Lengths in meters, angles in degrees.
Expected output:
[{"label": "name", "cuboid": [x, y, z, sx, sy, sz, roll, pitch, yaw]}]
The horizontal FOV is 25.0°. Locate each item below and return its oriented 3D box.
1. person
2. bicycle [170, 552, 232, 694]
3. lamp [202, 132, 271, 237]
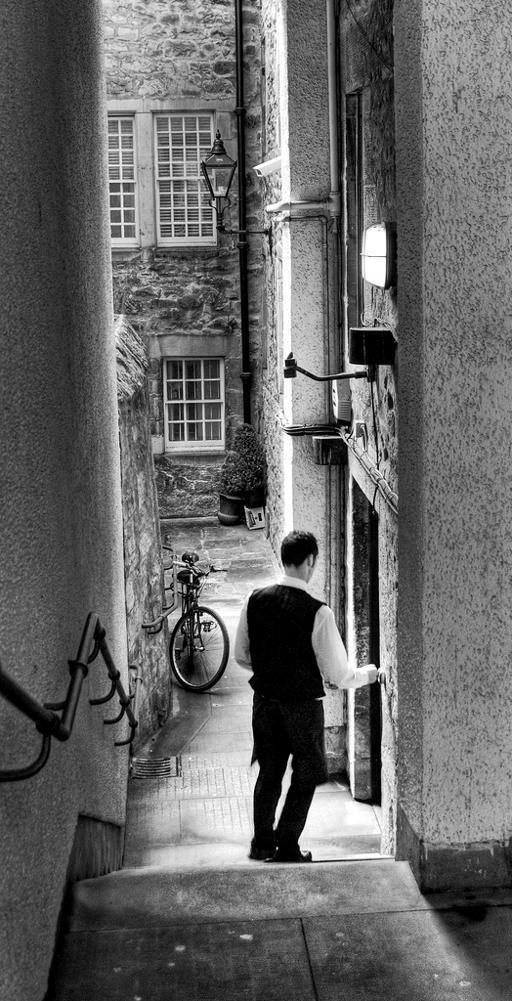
[{"label": "person", "cuboid": [0.132, 0.844, 4.659, 0.335, 1.443, 0.622, -3, 3, -39]}, {"label": "bicycle", "cuboid": [-0.443, 0.890, 8.938, 0.453, 1.039, 1.298, -1, 4, -2]}, {"label": "lamp", "cuboid": [-0.307, -3.681, 13.501, 0.646, 1.210, 1.023, -2, 3, -3]}]
